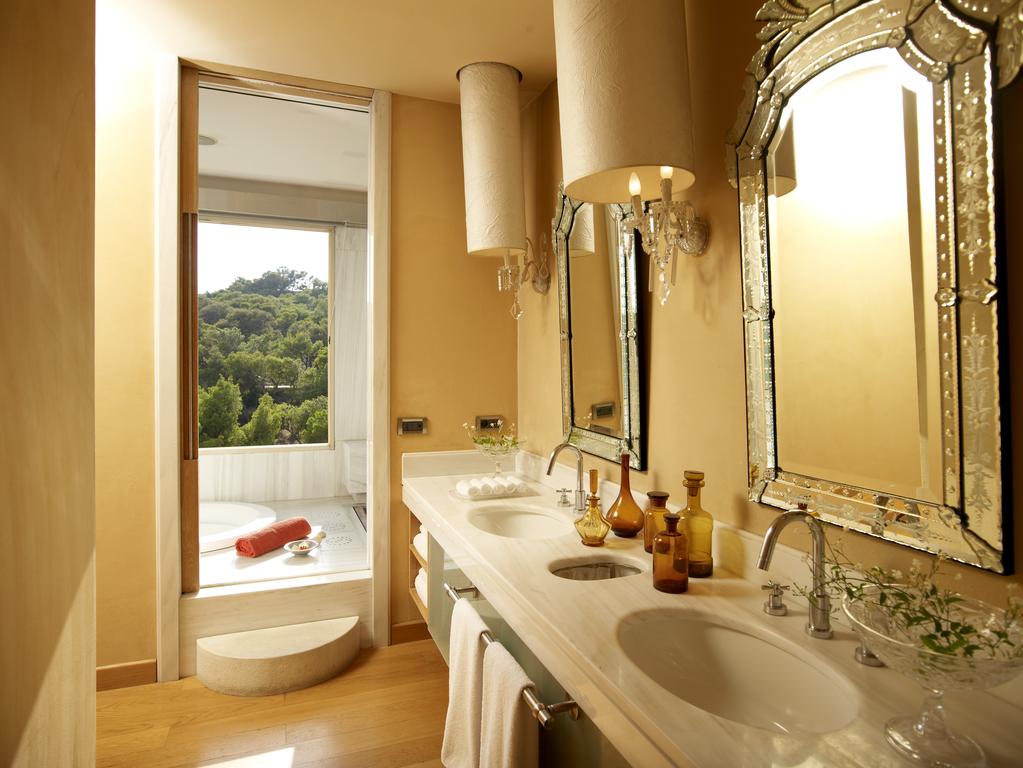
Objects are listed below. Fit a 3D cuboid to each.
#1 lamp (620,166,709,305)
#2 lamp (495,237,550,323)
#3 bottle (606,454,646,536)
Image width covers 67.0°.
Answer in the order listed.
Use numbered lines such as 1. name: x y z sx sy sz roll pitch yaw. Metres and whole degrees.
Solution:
1. lamp: 0.453 -0.434 2.262 0.185 0.347 0.209 5 -5 -41
2. lamp: 0.051 -0.446 3.467 0.231 0.384 0.523 -2 14 -2
3. bottle: 0.371 0.328 2.548 0.114 0.267 0.255 1 14 9
